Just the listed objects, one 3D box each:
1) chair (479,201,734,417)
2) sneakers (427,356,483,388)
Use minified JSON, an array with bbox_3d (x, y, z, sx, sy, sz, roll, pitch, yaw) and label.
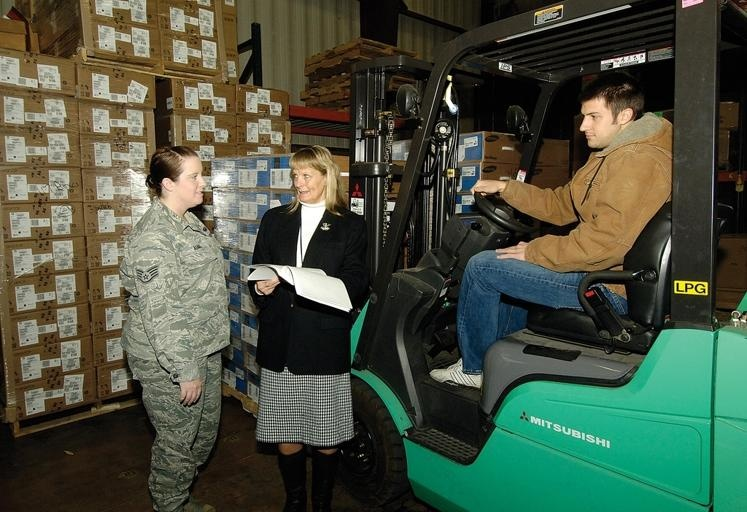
[{"bbox_3d":[1.528,0.367,3.687,1.585,1.626,1.035,8,3,33],"label":"chair"},{"bbox_3d":[0.603,0.815,3.678,0.398,0.168,0.138,9,6,42],"label":"sneakers"}]
